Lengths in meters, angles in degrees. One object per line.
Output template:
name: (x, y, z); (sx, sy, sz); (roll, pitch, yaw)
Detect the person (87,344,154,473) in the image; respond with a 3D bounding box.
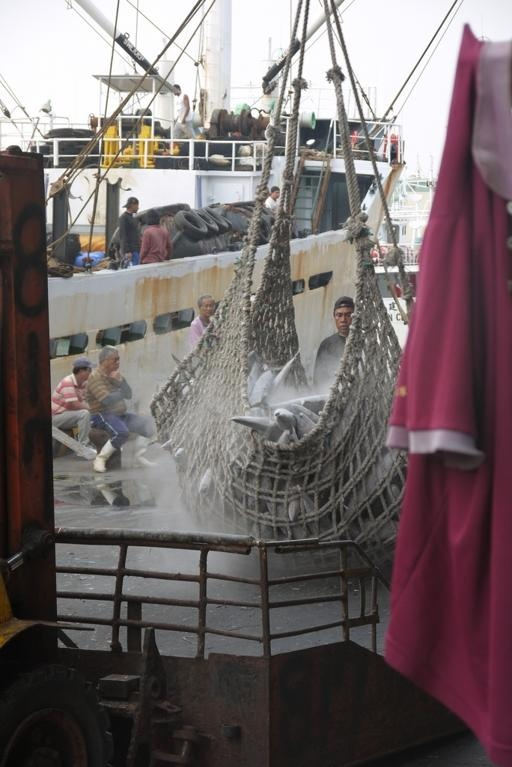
person: (-1.183, 0.219, 9.049); (0.543, 1.062, 0.710); (1, 0, 39)

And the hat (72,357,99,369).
hat: (-1.487, -0.155, 8.998); (0.147, 0.091, 0.099); (-6, 15, -37)

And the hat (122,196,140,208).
hat: (-1.318, -1.889, 11.057); (0.113, 0.113, 0.236); (1, 8, -4)

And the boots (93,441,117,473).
boots: (-1.252, 0.632, 8.732); (0.084, 0.212, 0.198); (11, 29, 31)

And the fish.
fish: (0.095, 0.433, 5.278); (0.899, 0.794, 1.207); (-20, 11, -26)
